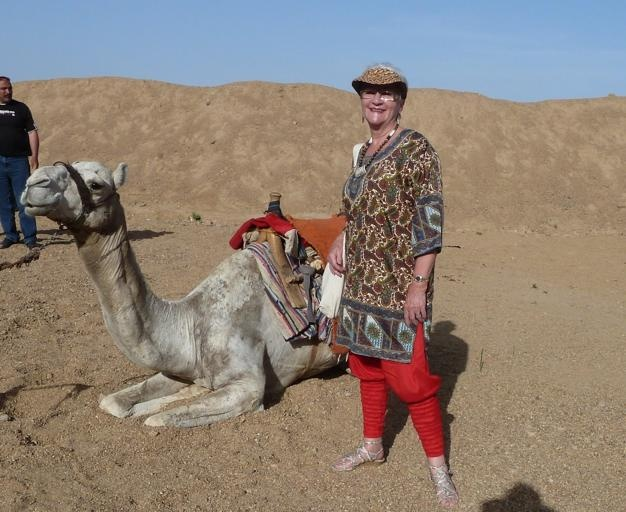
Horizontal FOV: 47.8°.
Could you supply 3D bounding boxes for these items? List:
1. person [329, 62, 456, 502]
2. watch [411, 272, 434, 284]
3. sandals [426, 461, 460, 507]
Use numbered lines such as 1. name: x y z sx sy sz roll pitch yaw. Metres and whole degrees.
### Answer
1. person: 0.503 0.188 5.267 0.994 3.264 1.056 2 4 44
2. watch: 0.779 0.150 5.029 0.085 0.051 0.101 3 5 27
3. sandals: 0.995 1.758 5.423 0.158 0.431 0.180 -15 -26 10
